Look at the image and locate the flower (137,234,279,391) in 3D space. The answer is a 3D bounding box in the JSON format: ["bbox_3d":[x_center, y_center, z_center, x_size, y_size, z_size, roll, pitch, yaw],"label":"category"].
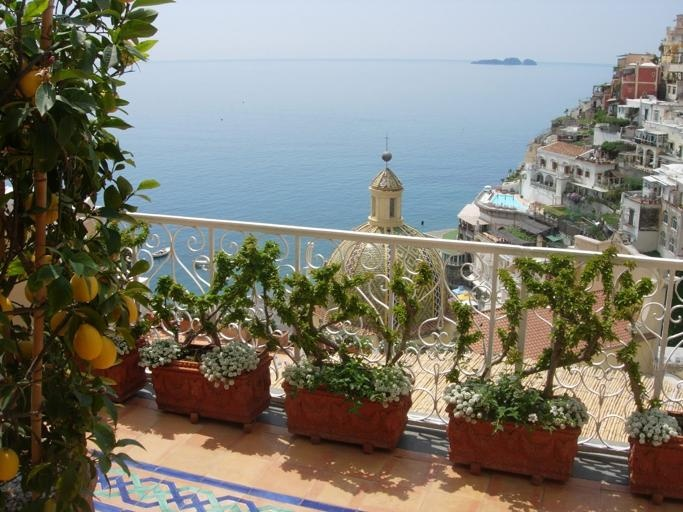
[{"bbox_3d":[-0.893,0.404,3.726,1.009,1.162,0.302,5,8,12],"label":"flower"}]

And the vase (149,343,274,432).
[{"bbox_3d":[-0.894,0.857,3.693,0.785,0.480,0.296,5,3,8],"label":"vase"}]
